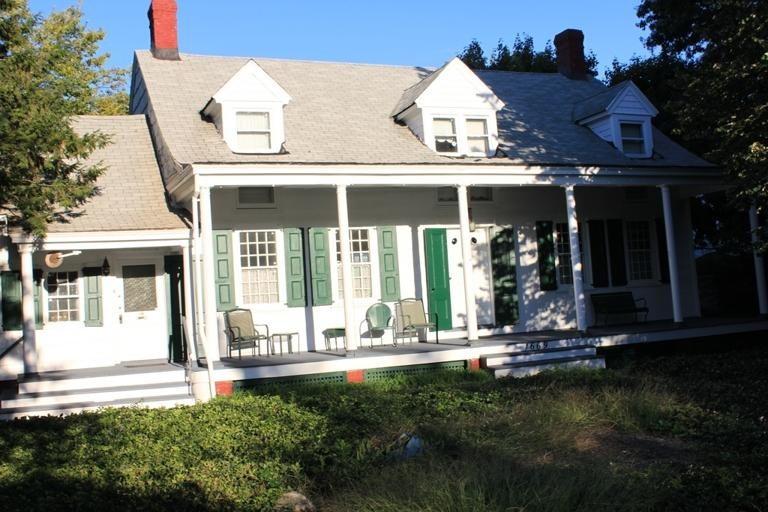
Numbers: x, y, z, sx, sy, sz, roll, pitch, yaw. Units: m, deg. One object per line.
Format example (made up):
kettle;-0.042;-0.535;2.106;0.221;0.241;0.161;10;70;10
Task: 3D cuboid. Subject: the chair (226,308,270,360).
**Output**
chair;-3.451;1.924;18.621;0.815;1.240;0.882;-4;-2;45

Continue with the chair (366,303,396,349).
chair;-0.070;1.831;19.797;0.988;1.200;1.013;-3;-2;1

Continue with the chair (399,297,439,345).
chair;0.924;1.732;19.932;0.978;1.177;0.872;-3;0;-14

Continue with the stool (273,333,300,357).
stool;-2.554;2.249;19.375;0.752;0.771;0.610;0;-6;-10

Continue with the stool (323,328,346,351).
stool;-1.332;2.141;19.877;0.733;0.740;0.634;-1;-5;-21
